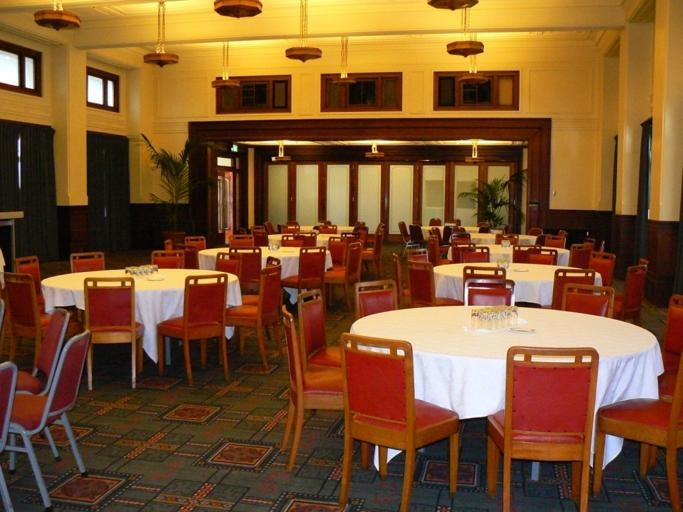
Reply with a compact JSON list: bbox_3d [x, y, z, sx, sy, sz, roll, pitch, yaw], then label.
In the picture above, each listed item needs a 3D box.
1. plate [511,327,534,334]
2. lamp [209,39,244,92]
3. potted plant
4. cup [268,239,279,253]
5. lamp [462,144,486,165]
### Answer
[{"bbox_3d":[1.222,0.495,3.611,0.160,0.007,0.146,1,7,1],"label":"plate"},{"bbox_3d":[-2.658,-4.320,12.450,0.588,0.859,0.543,0,12,-4],"label":"lamp"},{"bbox_3d":[-4.737,-2.227,16.157,2.834,2.782,2.686,-10,19,-42],"label":"potted plant"},{"bbox_3d":[-1.053,-0.157,8.552,0.196,0.209,0.188,3,15,-1],"label":"cup"},{"bbox_3d":[4.717,-3.494,19.219,0.771,0.845,0.764,0,0,22],"label":"lamp"}]
